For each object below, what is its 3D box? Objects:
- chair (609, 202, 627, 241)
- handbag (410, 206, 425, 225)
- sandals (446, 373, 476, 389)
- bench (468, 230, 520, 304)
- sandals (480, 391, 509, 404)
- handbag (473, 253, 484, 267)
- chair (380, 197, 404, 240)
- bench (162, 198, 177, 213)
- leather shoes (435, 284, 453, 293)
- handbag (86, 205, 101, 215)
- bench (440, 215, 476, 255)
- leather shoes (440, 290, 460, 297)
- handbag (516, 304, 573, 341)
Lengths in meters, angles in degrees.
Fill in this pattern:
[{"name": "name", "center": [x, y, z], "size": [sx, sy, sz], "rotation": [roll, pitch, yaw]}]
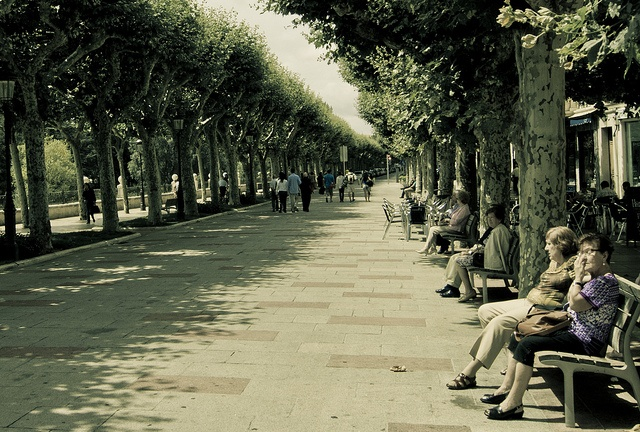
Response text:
[{"name": "chair", "center": [7.963, 0.108, 18.615], "size": [0.674, 0.985, 0.955], "rotation": [-3, 4, 13]}, {"name": "handbag", "center": [2.736, -0.044, 19.540], "size": [0.420, 0.502, 0.424], "rotation": [0, -5, 7]}, {"name": "sandals", "center": [1.943, 2.242, 9.532], "size": [0.370, 0.155, 0.179], "rotation": [1, -2, -1]}, {"name": "bench", "center": [3.128, 0.917, 12.388], "size": [0.813, 1.073, 0.686], "rotation": [-3, 4, -5]}, {"name": "sandals", "center": [2.289, 2.360, 9.141], "size": [0.319, 0.117, 0.135], "rotation": [2, -1, 8]}, {"name": "handbag", "center": [2.916, 0.796, 12.792], "size": [0.245, 0.235, 0.187], "rotation": [2, 0, 35]}, {"name": "chair", "center": [2.195, 0.053, 21.500], "size": [1.025, 1.437, 1.065], "rotation": [-3, 10, 6]}, {"name": "bench", "center": [-7.834, -0.547, 36.263], "size": [0.713, 0.955, 0.678], "rotation": [-5, 31, -24]}, {"name": "leather shoes", "center": [2.350, 1.368, 13.164], "size": [0.323, 0.130, 0.117], "rotation": [-4, -1, 36]}, {"name": "handbag", "center": [-10.596, -0.326, 32.433], "size": [0.262, 0.357, 0.485], "rotation": [-18, -2, 21]}, {"name": "bench", "center": [3.125, 0.302, 16.036], "size": [0.873, 0.878, 0.624], "rotation": [-8, 10, -2]}, {"name": "leather shoes", "center": [2.453, 1.449, 13.094], "size": [0.365, 0.152, 0.133], "rotation": [2, -1, 2]}, {"name": "handbag", "center": [2.888, 1.368, 9.038], "size": [0.535, 0.175, 0.416], "rotation": [-26, 20, -33]}]
